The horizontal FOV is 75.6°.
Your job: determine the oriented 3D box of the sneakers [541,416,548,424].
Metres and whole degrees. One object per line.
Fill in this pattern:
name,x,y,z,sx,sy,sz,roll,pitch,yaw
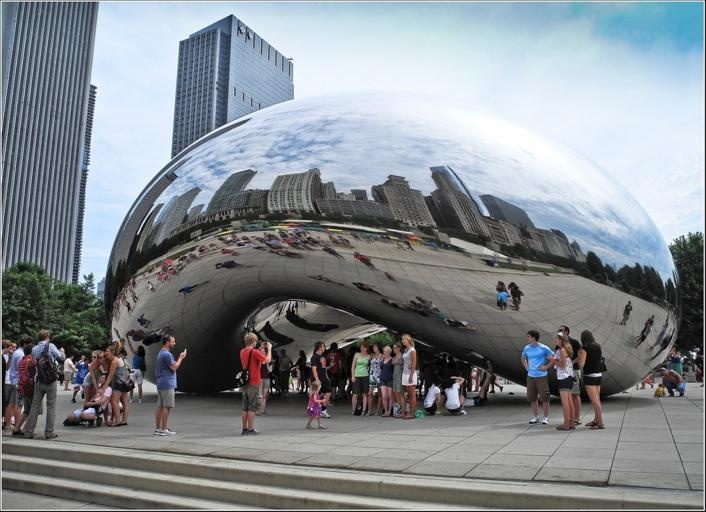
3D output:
sneakers,3.723,3.216,8.905,0.106,0.105,0.265,-6,-17,24

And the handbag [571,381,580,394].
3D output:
handbag,4.138,2.456,8.497,0.146,0.236,0.072,-8,7,-10

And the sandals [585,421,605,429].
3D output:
sandals,4.337,3.058,8.265,0.261,0.086,0.192,-2,-5,39

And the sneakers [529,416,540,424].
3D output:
sneakers,3.581,3.288,9.082,0.101,0.112,0.291,-12,-20,36

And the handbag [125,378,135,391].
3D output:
handbag,-4.675,2.723,9.598,0.118,0.349,0.522,-11,7,-24

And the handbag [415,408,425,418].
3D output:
handbag,1.540,3.694,10.619,0.196,0.101,0.330,0,-4,5

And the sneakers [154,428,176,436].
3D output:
sneakers,-3.378,3.191,8.217,0.346,0.131,0.137,3,-19,1

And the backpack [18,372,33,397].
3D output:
backpack,-6.038,2.405,8.424,0.300,0.351,0.099,-5,7,14

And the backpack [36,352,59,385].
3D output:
backpack,-5.460,2.011,8.134,0.369,0.466,0.233,-10,7,-28

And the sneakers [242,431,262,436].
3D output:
sneakers,-1.823,3.164,8.161,0.288,0.123,0.098,1,-7,-5
